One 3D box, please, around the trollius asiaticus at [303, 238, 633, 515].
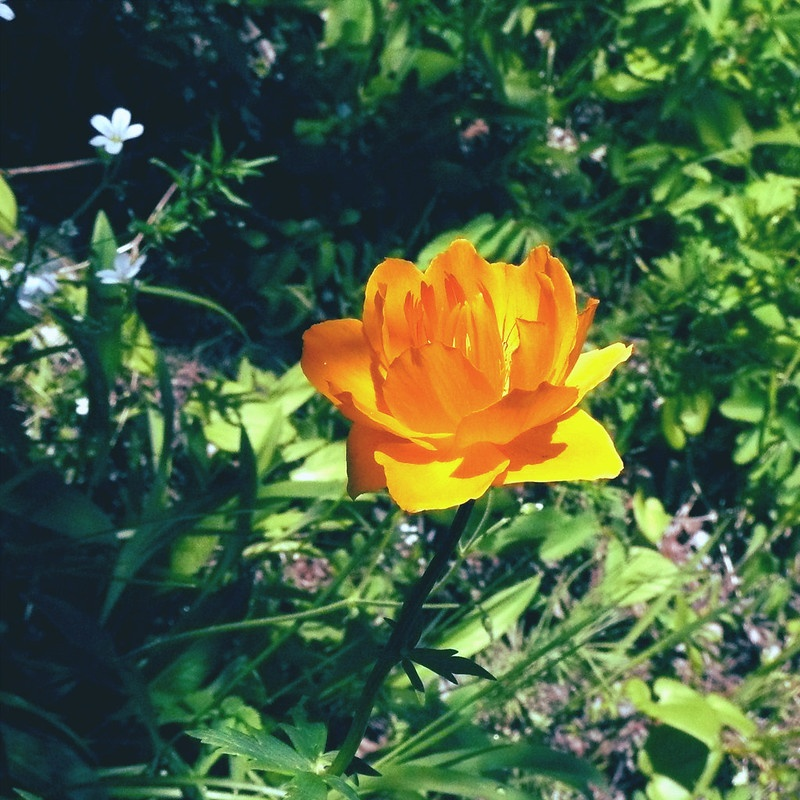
[{"bbox_3d":[0.008,-0.017,0.612,0.235,0.104,0.185,-2,3,33],"label":"trollius asiaticus"}]
